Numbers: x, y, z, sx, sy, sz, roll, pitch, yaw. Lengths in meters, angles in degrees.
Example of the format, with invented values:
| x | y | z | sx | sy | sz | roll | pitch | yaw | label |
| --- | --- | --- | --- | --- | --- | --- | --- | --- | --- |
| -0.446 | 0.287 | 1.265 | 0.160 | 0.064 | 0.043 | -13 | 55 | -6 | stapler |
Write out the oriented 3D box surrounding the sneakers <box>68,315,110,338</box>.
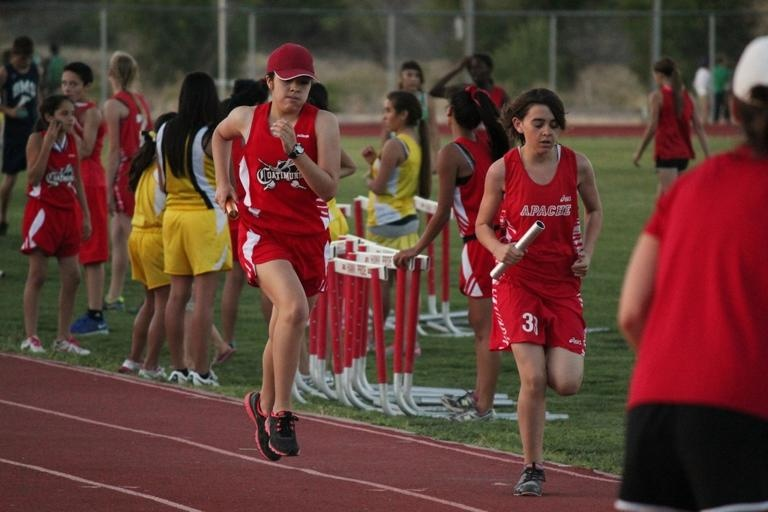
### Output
| x | y | z | sx | sy | sz | roll | pitch | yaw | label |
| --- | --- | --- | --- | --- | --- | --- | --- | --- | --- |
| -2.827 | 0.694 | 12.757 | 0.340 | 0.150 | 0.165 | 5 | 0 | -24 | sneakers |

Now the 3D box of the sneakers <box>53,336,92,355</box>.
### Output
| x | y | z | sx | sy | sz | roll | pitch | yaw | label |
| --- | --- | --- | --- | --- | --- | --- | --- | --- | --- |
| -2.834 | 0.824 | 12.125 | 0.358 | 0.157 | 0.140 | 10 | 9 | -1 | sneakers |

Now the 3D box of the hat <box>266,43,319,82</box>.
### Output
| x | y | z | sx | sy | sz | roll | pitch | yaw | label |
| --- | --- | --- | --- | --- | --- | --- | --- | --- | --- |
| -0.664 | -1.423 | 9.738 | 0.334 | 0.255 | 0.489 | 3 | 8 | -28 | hat |

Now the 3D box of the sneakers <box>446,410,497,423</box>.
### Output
| x | y | z | sx | sy | sz | roll | pitch | yaw | label |
| --- | --- | --- | --- | --- | --- | --- | --- | --- | --- |
| 0.747 | 1.350 | 11.086 | 0.372 | 0.147 | 0.135 | 3 | -13 | -1 | sneakers |

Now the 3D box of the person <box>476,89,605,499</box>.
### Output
| x | y | z | sx | sy | sz | roll | pitch | yaw | label |
| --- | --- | --- | --- | --- | --- | --- | --- | --- | --- |
| 1.090 | 0.226 | 9.710 | 0.895 | 2.797 | 1.114 | 5 | 13 | 9 | person |

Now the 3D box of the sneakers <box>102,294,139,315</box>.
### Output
| x | y | z | sx | sy | sz | roll | pitch | yaw | label |
| --- | --- | --- | --- | --- | --- | --- | --- | --- | --- |
| -2.724 | 0.503 | 13.586 | 0.415 | 0.193 | 0.146 | 7 | 1 | -17 | sneakers |

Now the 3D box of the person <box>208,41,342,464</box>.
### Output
| x | y | z | sx | sy | sz | roll | pitch | yaw | label |
| --- | --- | --- | --- | --- | --- | --- | --- | --- | --- |
| -0.739 | -0.016 | 9.794 | 0.787 | 3.032 | 1.173 | -3 | 14 | -25 | person |

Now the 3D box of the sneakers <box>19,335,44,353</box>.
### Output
| x | y | z | sx | sy | sz | roll | pitch | yaw | label |
| --- | --- | --- | --- | --- | --- | --- | --- | --- | --- |
| -3.171 | 0.813 | 11.987 | 0.255 | 0.111 | 0.112 | 1 | -6 | 44 | sneakers |

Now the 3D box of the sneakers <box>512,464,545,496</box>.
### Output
| x | y | z | sx | sy | sz | roll | pitch | yaw | label |
| --- | --- | --- | --- | --- | --- | --- | --- | --- | --- |
| 1.061 | 1.594 | 9.518 | 0.257 | 0.251 | 0.207 | 0 | 13 | -11 | sneakers |

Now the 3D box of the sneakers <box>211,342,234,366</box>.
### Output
| x | y | z | sx | sy | sz | roll | pitch | yaw | label |
| --- | --- | --- | --- | --- | --- | --- | --- | --- | --- |
| -1.510 | 0.938 | 12.441 | 0.105 | 0.243 | 0.107 | 36 | 41 | -11 | sneakers |

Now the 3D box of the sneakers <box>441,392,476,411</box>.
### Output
| x | y | z | sx | sy | sz | roll | pitch | yaw | label |
| --- | --- | --- | --- | --- | --- | --- | --- | --- | --- |
| 0.652 | 1.242 | 11.276 | 0.319 | 0.150 | 0.124 | 5 | 4 | 36 | sneakers |

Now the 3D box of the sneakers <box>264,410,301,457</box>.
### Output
| x | y | z | sx | sy | sz | roll | pitch | yaw | label |
| --- | --- | --- | --- | --- | --- | --- | --- | --- | --- |
| -0.736 | 1.283 | 9.595 | 0.232 | 0.324 | 0.228 | 1 | 13 | -7 | sneakers |
